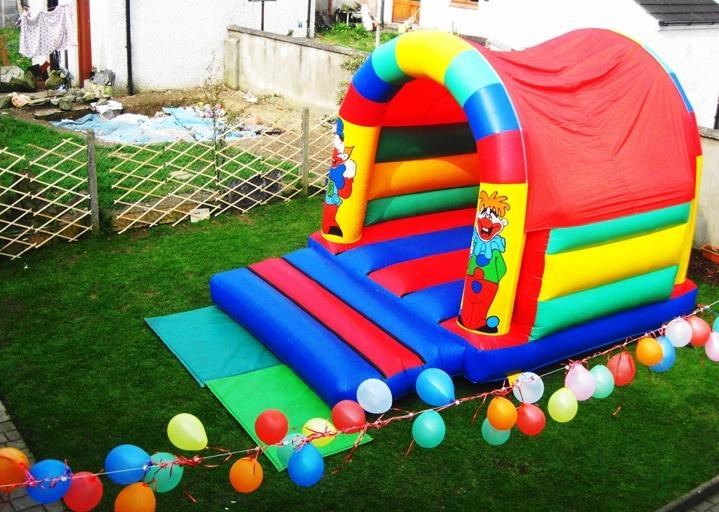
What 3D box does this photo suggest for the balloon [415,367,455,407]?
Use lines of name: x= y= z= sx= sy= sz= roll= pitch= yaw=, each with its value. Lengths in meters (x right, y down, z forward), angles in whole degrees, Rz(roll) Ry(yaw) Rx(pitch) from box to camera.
balloon: x=0.731 y=1.243 z=6.020 sx=0.306 sy=0.320 sz=0.412 roll=7 pitch=13 yaw=32

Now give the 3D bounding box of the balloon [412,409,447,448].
balloon: x=0.645 y=1.603 z=5.635 sx=0.301 sy=0.374 sz=0.308 roll=-1 pitch=8 yaw=-8

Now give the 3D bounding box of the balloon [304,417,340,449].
balloon: x=-0.355 y=1.562 z=5.379 sx=0.296 sy=0.226 sz=0.223 roll=0 pitch=30 yaw=-31

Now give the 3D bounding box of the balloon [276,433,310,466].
balloon: x=-0.560 y=1.666 z=5.266 sx=0.215 sy=0.216 sz=0.250 roll=-45 pitch=18 yaw=-14

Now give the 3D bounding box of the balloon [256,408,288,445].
balloon: x=-0.757 y=1.523 z=5.349 sx=0.263 sy=0.337 sz=0.212 roll=23 pitch=34 yaw=34

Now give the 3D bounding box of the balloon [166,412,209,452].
balloon: x=-1.443 y=1.534 z=5.223 sx=0.333 sy=0.344 sz=0.221 roll=14 pitch=29 yaw=20

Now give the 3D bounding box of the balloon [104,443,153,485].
balloon: x=-1.815 y=1.637 z=4.778 sx=0.319 sy=0.239 sz=0.165 roll=2 pitch=28 yaw=-2

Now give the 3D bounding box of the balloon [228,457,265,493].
balloon: x=-0.957 y=1.885 z=5.164 sx=0.246 sy=0.387 sz=0.183 roll=-10 pitch=30 yaw=-23
